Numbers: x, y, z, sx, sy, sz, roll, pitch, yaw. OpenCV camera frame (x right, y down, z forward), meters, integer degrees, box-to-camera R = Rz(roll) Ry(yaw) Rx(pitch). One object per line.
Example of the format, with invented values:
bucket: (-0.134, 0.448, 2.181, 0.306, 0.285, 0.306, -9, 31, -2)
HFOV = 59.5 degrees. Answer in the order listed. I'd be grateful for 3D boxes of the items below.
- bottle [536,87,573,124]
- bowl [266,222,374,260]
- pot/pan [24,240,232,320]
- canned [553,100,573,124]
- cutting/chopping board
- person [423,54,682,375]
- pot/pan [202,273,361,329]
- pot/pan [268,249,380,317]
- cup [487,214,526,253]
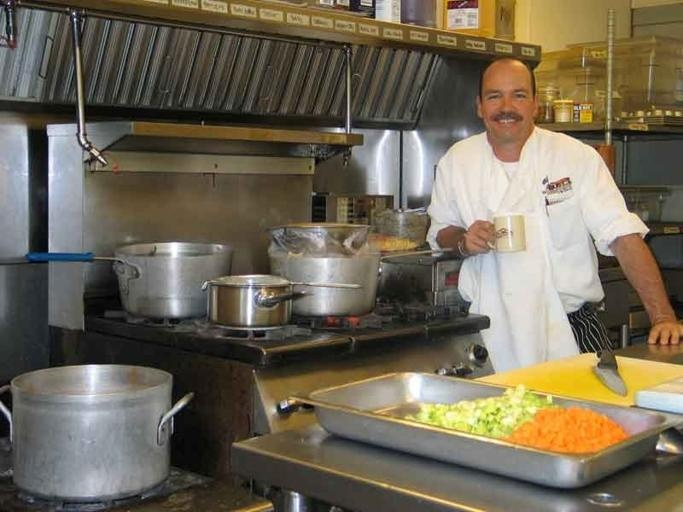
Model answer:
bottle: (1.470, -1.071, 4.328, 0.343, 0.264, 0.253, 1, 1, 4)
bowl: (-0.080, -0.037, 2.198, 0.417, 0.112, 0.374, 0, -6, -18)
pot/pan: (-0.748, 0.085, 2.148, 0.651, 0.193, 0.340, -1, -2, 12)
canned: (1.563, -1.016, 4.205, 0.178, 0.136, 0.164, 2, 7, 16)
cutting/chopping board: (0.682, 0.312, 1.632, 0.342, 0.083, 0.555, -2, 7, 45)
person: (0.817, -0.178, 2.381, 0.786, 1.262, 0.399, -6, 6, 25)
pot/pan: (-0.188, 0.112, 1.830, 0.424, 0.107, 0.200, 1, 2, 20)
pot/pan: (-0.033, 0.087, 2.011, 0.286, 0.127, 0.276, 0, -1, -13)
cup: (0.598, -0.085, 2.152, 0.113, 0.128, 0.105, -8, 5, 1)
